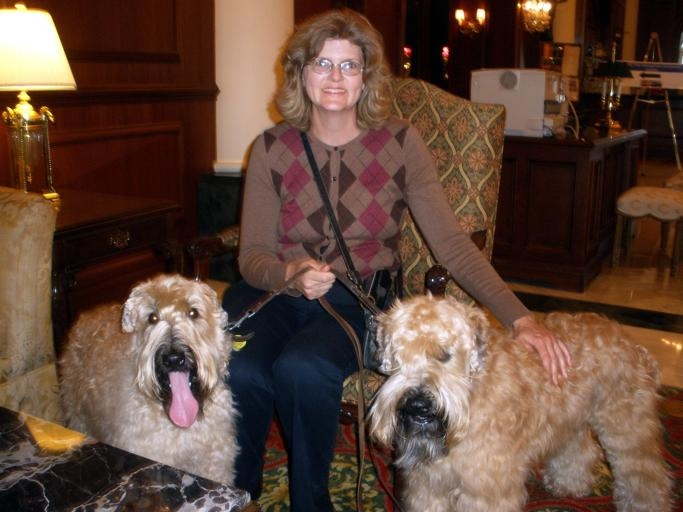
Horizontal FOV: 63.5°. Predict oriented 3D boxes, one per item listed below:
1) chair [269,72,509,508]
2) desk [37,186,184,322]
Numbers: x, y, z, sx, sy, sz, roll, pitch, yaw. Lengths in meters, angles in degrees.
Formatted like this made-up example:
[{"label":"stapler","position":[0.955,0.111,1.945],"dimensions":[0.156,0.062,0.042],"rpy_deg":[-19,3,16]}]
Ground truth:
[{"label":"chair","position":[0.198,-0.264,3.814],"dimensions":[1.221,2.738,1.311],"rpy_deg":[3,7,21]},{"label":"desk","position":[-1.537,0.004,3.678],"dimensions":[0.685,0.912,0.867],"rpy_deg":[28,34,31]}]
